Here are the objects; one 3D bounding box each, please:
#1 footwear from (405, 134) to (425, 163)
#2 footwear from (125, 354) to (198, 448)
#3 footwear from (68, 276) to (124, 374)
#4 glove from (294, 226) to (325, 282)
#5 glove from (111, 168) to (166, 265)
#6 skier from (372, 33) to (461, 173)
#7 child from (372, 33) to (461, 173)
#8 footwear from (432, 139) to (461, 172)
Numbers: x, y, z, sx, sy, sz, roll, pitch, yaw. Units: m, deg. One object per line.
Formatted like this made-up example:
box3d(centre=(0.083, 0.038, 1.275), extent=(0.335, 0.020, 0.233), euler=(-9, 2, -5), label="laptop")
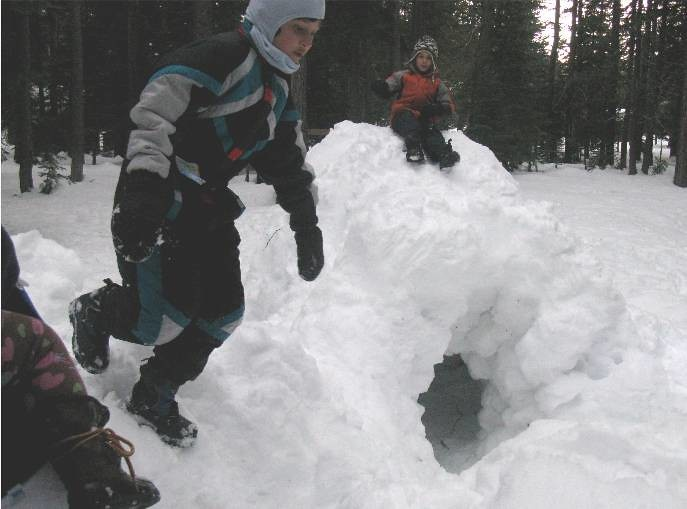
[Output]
box3d(centre=(0.736, -1.056, 7.677), extent=(0.170, 0.291, 0.115), euler=(-1, -21, -19), label="footwear")
box3d(centre=(-1.270, 1.042, 5.187), extent=(0.547, 0.512, 0.232), euler=(31, 27, -9), label="footwear")
box3d(centre=(-1.690, 0.494, 5.162), extent=(0.318, 0.778, 0.269), euler=(-1, 0, 10), label="footwear")
box3d(centre=(-0.239, 0.003, 5.451), extent=(0.203, 0.391, 0.114), euler=(-3, 7, -11), label="glove")
box3d(centre=(-1.265, -0.227, 4.600), extent=(0.305, 0.577, 0.190), euler=(7, -5, -12), label="glove")
box3d(centre=(0.804, -1.669, 8.065), extent=(0.862, 1.377, 1.268), euler=(2, 10, -7), label="skier")
box3d(centre=(0.800, -1.674, 8.075), extent=(0.875, 1.372, 1.269), euler=(3, 10, -5), label="child")
box3d(centre=(1.083, -0.981, 7.667), extent=(0.209, 0.284, 0.122), euler=(24, -25, 6), label="footwear")
